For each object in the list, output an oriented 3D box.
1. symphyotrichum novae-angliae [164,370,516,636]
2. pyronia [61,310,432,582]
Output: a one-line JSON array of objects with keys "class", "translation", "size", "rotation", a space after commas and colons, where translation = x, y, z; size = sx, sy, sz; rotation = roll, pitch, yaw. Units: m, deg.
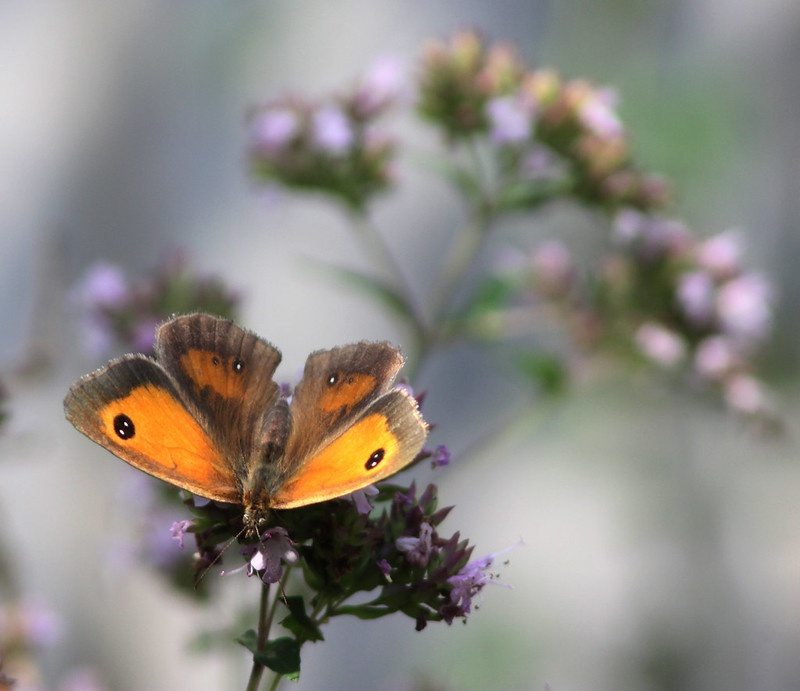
[{"class": "symphyotrichum novae-angliae", "translation": [-0.101, 0.295, 1.597], "size": [0.302, 0.431, 0.429], "rotation": [-7, 85, -8]}, {"class": "pyronia", "translation": [-0.221, 0.110, 1.531], "size": [0.512, 0.170, 0.304], "rotation": [12, 67, -1]}]
